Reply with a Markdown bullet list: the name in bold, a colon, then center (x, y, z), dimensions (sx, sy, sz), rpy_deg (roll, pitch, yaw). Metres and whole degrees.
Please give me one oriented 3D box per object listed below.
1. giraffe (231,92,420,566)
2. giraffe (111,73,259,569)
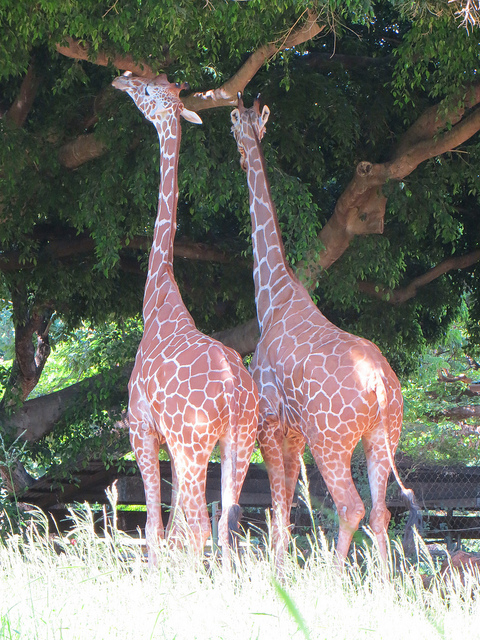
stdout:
- **giraffe**: center (0.535, -0.109, 8.469), dimensions (0.692, 3.407, 1.997), rpy_deg (1, 2, -22)
- **giraffe**: center (-0.352, -0.111, 8.027), dimensions (0.859, 3.577, 2.066), rpy_deg (1, 2, -7)
